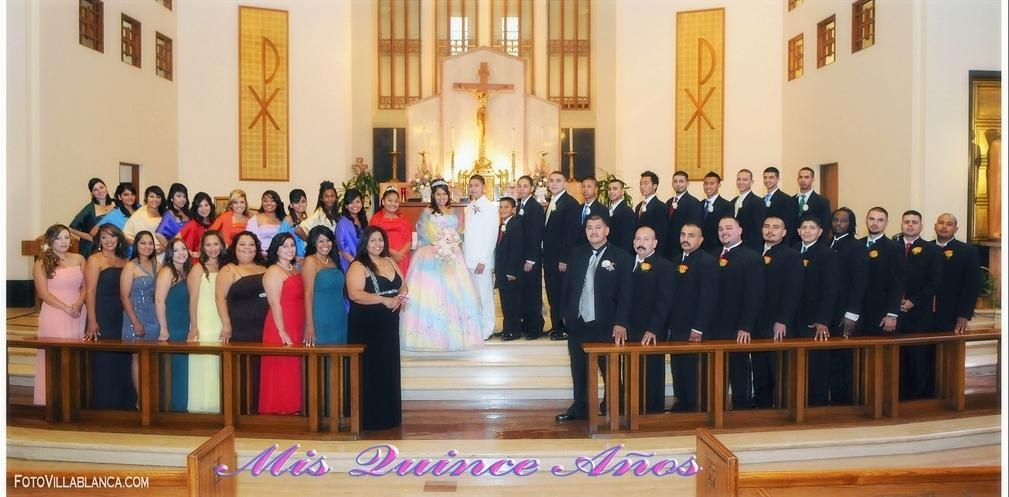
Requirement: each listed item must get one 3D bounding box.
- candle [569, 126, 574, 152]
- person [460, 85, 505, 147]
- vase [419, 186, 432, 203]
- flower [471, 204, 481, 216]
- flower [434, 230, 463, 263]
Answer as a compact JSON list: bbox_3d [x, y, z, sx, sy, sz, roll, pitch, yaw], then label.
[{"bbox_3d":[1.728,-2.833,22.861,0.115,0.568,0.048,-2,0,4],"label":"candle"},{"bbox_3d":[-0.504,-2.915,19.961,0.727,1.460,0.295,-2,0,-2],"label":"person"},{"bbox_3d":[-1.501,-1.044,17.105,0.349,0.294,0.328,-2,3,0],"label":"vase"},{"bbox_3d":[-0.462,-0.630,14.462,0.136,0.136,0.050,0,-6,10],"label":"flower"},{"bbox_3d":[-0.859,-0.048,14.159,0.476,0.453,0.327,-7,-1,-17],"label":"flower"}]
